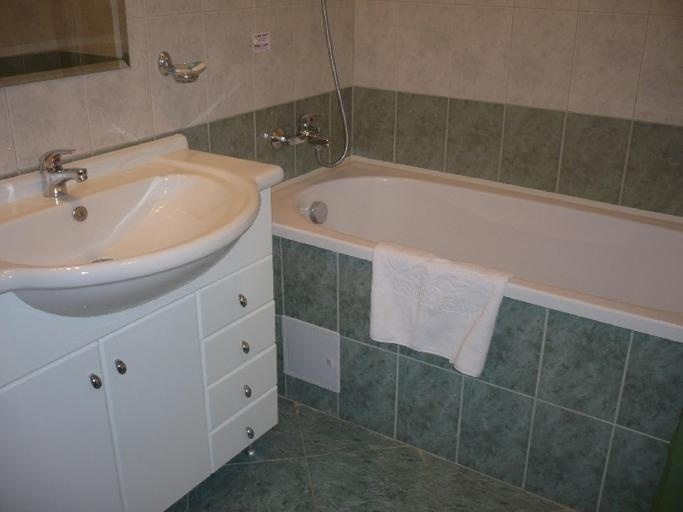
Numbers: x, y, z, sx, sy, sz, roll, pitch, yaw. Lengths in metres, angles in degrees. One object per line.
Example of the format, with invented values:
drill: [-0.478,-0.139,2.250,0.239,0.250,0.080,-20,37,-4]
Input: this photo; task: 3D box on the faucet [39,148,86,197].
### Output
faucet: [-0.829,-0.240,1.739,0.149,0.135,0.051,7,21,14]

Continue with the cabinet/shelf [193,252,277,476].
cabinet/shelf: [-0.462,0.348,2.191,0.301,0.705,0.442,-20,36,-37]

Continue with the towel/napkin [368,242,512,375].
towel/napkin: [0.383,0.155,2.059,0.136,0.511,0.470,-32,24,-35]
